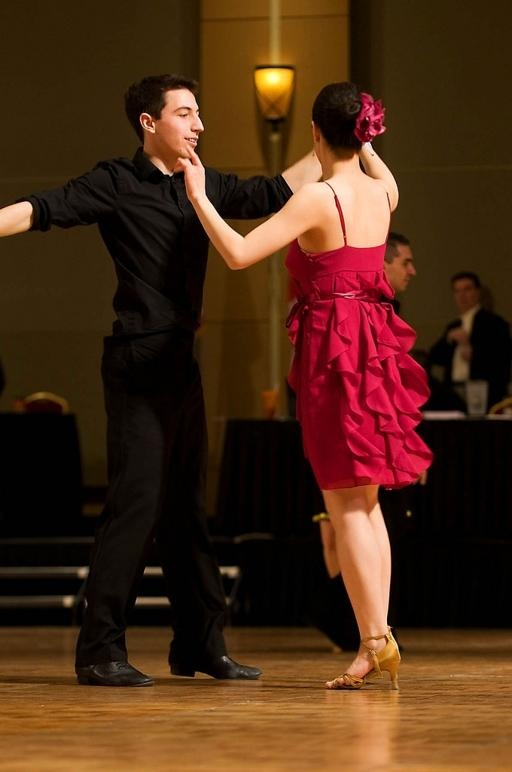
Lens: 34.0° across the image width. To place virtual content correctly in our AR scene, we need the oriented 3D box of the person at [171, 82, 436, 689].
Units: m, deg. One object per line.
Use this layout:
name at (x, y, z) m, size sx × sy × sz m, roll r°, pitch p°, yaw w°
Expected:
person at (0.152, -0.009, 1.875) m, size 0.602 × 1.330 × 0.407 m, roll -2°, pitch 5°, yaw -14°

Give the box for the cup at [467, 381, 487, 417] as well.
cup at (1.152, 0.065, 4.337) m, size 0.102 × 0.165 × 0.432 m, roll 0°, pitch 5°, yaw 13°

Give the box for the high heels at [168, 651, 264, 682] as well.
high heels at (-0.101, 0.672, 2.054) m, size 0.251 × 0.085 × 0.080 m, roll -1°, pitch -1°, yaw 9°

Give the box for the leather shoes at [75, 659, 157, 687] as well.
leather shoes at (-0.314, 0.635, 1.878) m, size 0.168 × 0.066 × 0.063 m, roll -2°, pitch -4°, yaw 9°

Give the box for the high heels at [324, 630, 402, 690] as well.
high heels at (0.267, 0.594, 1.829) m, size 0.204 × 0.138 × 0.091 m, roll -2°, pitch -8°, yaw 13°
